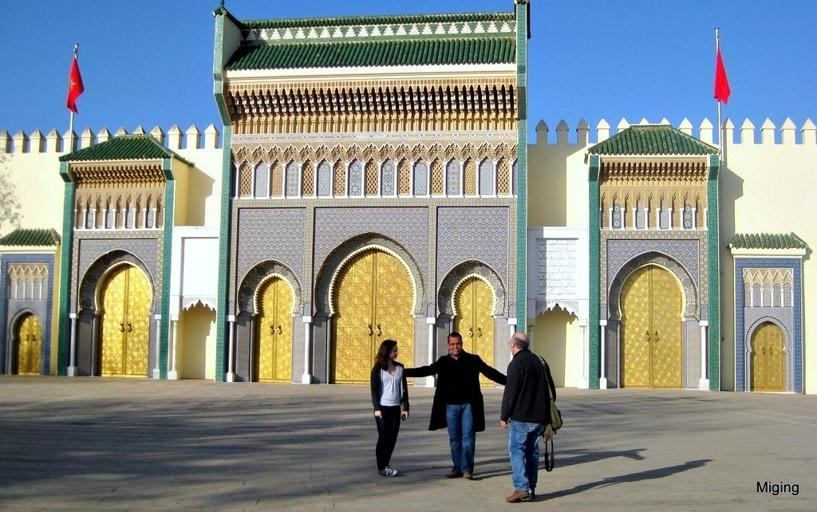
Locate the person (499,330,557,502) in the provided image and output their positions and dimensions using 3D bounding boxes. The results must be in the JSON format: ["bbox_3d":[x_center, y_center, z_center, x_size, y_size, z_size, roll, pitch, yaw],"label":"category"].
[{"bbox_3d":[2.253,3.134,22.611,0.831,3.116,1.030,5,9,28],"label":"person"}]

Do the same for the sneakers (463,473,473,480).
[{"bbox_3d":[1.224,4.393,23.225,0.238,0.117,0.106,-4,10,-33],"label":"sneakers"}]

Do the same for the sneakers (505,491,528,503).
[{"bbox_3d":[2.117,4.649,22.374,0.475,0.222,0.184,0,-5,-2],"label":"sneakers"}]

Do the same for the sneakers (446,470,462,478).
[{"bbox_3d":[0.915,4.390,23.321,0.370,0.161,0.122,1,-8,11],"label":"sneakers"}]

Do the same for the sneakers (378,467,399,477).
[{"bbox_3d":[-0.406,4.352,23.296,0.433,0.181,0.155,0,-6,-1],"label":"sneakers"}]

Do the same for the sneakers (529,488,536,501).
[{"bbox_3d":[2.395,4.643,22.497,0.181,0.255,0.162,1,-11,-7],"label":"sneakers"}]
